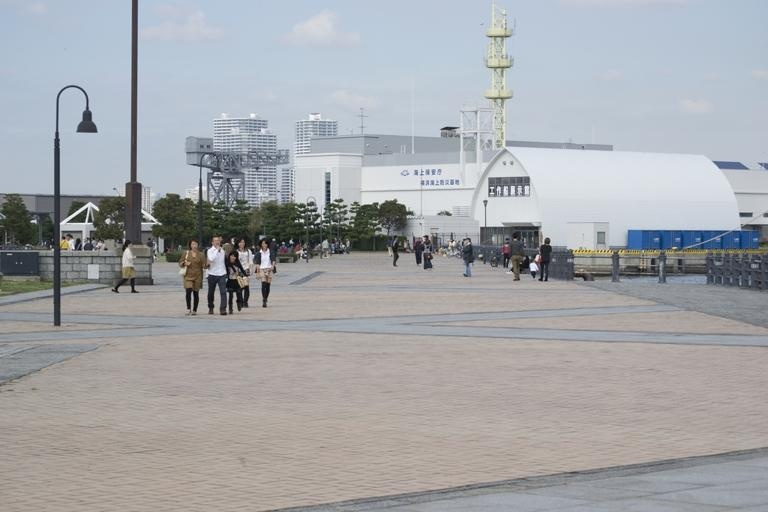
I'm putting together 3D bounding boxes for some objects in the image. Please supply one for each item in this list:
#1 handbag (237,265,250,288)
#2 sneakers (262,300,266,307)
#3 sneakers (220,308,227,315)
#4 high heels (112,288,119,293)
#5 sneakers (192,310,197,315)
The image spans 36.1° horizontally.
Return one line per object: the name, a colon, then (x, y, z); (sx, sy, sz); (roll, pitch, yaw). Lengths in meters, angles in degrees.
handbag: (-3.601, 0.534, 29.844); (0.315, 0.643, 0.221); (-8, -8, 20)
sneakers: (-3.142, 1.216, 31.006); (0.088, 0.231, 0.102); (1, -28, 0)
sneakers: (-3.899, 1.359, 28.664); (0.184, 0.117, 0.222); (12, 22, -18)
high heels: (-8.273, 1.049, 36.540); (0.164, 0.110, 0.360); (-4, 6, -25)
sneakers: (-4.621, 1.379, 28.860); (0.121, 0.099, 0.261); (-2, 10, -12)
